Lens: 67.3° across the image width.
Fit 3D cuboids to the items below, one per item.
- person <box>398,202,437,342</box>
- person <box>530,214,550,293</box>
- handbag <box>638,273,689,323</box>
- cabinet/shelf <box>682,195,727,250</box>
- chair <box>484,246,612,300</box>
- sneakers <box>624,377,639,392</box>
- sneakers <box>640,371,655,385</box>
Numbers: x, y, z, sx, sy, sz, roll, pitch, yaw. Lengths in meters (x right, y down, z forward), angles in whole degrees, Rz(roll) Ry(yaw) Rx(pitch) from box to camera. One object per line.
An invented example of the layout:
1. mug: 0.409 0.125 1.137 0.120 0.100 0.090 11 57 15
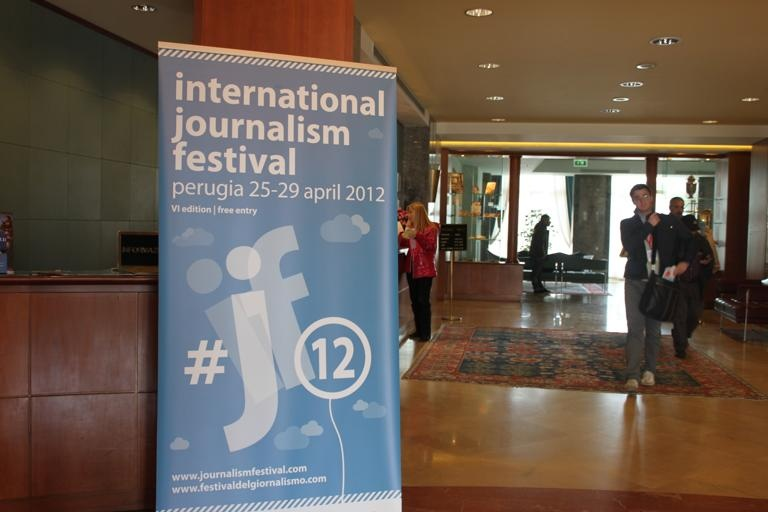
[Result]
1. person: 0.475 0.268 7.913 0.448 1.934 0.606 1 7 4
2. person: 3.637 -0.040 13.534 0.515 1.829 0.280 0 7 0
3. handbag: 2.899 0.441 6.019 0.478 0.482 0.224 -2 8 -18
4. cabinet/shelf: 6.787 -0.667 12.428 0.966 1.466 1.342 1 2 35
5. chair: 4.306 0.348 13.919 2.303 1.044 1.292 1 8 6
6. sneakers: 2.633 1.373 6.151 0.152 0.111 0.051 3 10 15
7. sneakers: 2.932 1.350 6.383 0.105 0.084 0.194 2 3 17
